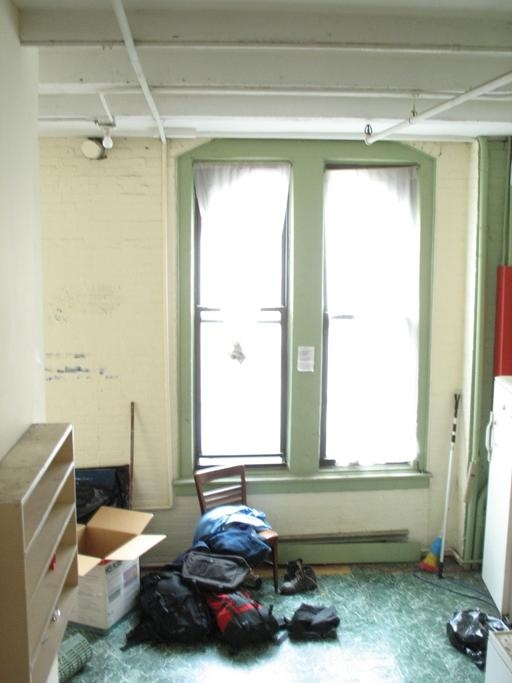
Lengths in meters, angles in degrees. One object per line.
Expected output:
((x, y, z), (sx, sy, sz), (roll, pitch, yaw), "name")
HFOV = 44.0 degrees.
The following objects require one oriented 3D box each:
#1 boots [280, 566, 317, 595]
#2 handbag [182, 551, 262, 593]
((0.263, 1.455, 3.846), (0.237, 0.186, 0.104), (-3, -8, -4), "boots")
((-0.230, 1.256, 3.435), (0.321, 0.121, 0.209), (4, 17, 4), "handbag")
